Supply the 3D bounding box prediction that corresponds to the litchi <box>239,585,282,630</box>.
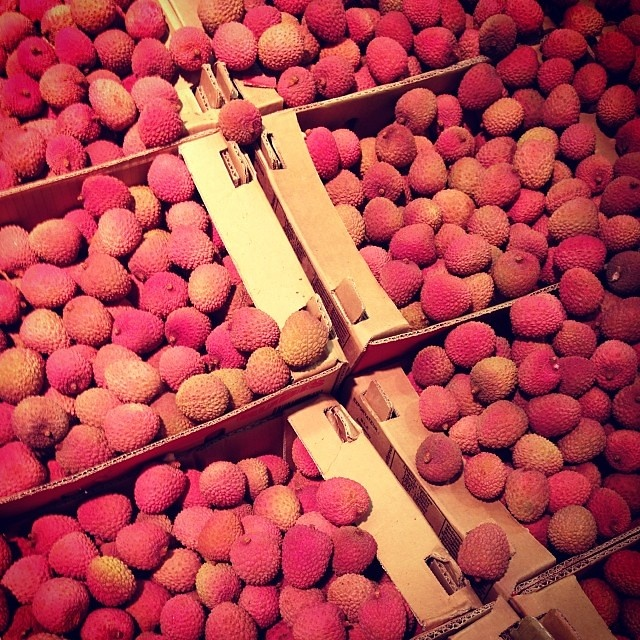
[{"bbox_3d":[-0.219,1.015,2.094,0.141,0.157,0.143,-11,44,-5],"label":"litchi"}]
